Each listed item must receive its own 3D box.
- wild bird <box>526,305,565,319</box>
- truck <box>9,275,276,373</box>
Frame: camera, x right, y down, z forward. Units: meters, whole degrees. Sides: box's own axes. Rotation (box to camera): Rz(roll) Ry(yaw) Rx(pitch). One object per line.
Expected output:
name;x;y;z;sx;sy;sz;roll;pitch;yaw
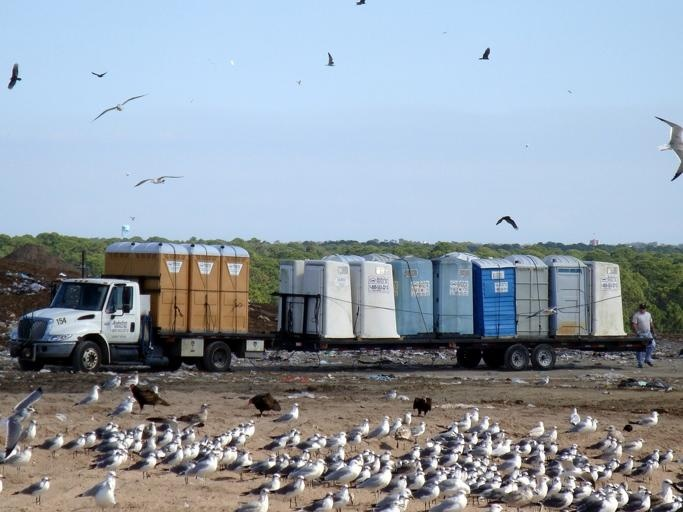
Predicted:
wild bird;7.390;1.963;40.221;0.810;0.261;0.550;-13;0;-3
truck;-6.521;2.392;35.629;2.938;2.785;7.574;-5;-8;43
